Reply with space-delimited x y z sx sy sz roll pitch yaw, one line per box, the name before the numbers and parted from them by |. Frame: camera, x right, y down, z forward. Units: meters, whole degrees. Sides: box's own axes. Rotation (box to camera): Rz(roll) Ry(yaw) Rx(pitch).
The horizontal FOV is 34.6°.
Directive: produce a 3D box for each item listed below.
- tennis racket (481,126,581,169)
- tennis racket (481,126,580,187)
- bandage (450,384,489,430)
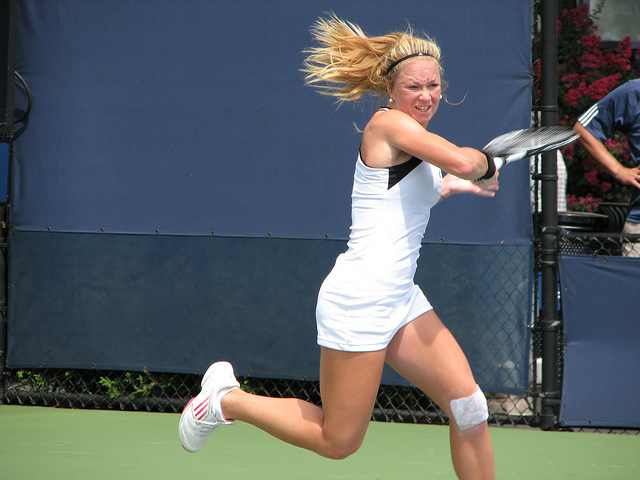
tennis racket | 1.234 -0.577 6.047 0.244 0.110 0.740 28 21 25
tennis racket | 1.235 -0.551 6.058 0.663 0.183 0.295 -14 20 -42
bandage | 0.846 0.979 5.992 0.206 0.178 0.210 -16 -1 -12
